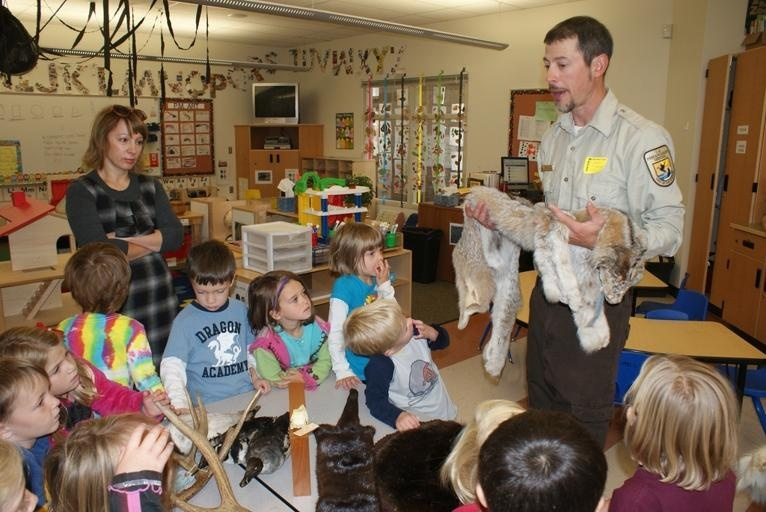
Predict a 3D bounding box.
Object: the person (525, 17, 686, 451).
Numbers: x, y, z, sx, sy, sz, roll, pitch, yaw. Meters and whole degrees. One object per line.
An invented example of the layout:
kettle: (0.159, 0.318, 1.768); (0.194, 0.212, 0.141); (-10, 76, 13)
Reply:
person: (1.019, -0.127, 2.546); (0.724, 1.973, 0.676); (8, 16, 30)

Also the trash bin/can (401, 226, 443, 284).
trash bin/can: (0.508, -0.034, 7.061); (0.393, 0.686, 0.575); (-10, 17, -30)

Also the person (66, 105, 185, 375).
person: (-1.514, -0.105, 3.178); (0.618, 1.551, 0.434); (-9, 16, -32)

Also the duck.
duck: (-0.509, 0.816, 2.257); (0.280, 0.151, 0.258); (-7, 16, -24)
